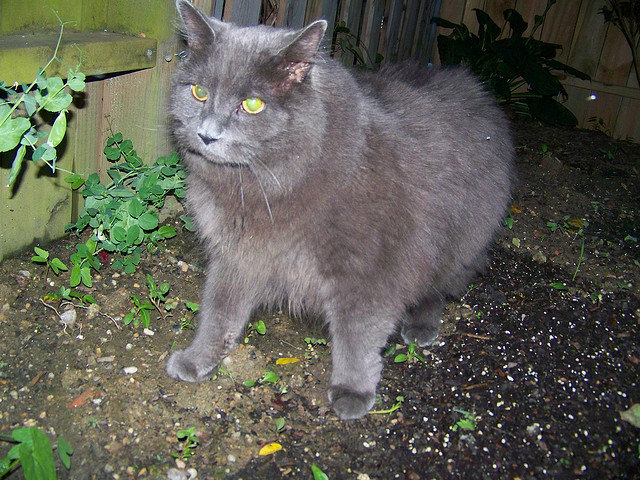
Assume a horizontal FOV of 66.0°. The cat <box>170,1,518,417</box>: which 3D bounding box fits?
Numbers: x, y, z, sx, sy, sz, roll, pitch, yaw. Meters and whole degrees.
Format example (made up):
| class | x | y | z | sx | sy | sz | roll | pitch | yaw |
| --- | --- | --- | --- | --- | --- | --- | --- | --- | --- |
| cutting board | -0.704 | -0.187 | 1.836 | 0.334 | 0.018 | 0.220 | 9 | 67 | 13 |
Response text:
| class | x | y | z | sx | sy | sz | roll | pitch | yaw |
| --- | --- | --- | --- | --- | --- | --- | --- | --- | --- |
| cat | 0.063 | -0.530 | 2.998 | 2.083 | 2.035 | 1.279 | -19 | 23 | -37 |
